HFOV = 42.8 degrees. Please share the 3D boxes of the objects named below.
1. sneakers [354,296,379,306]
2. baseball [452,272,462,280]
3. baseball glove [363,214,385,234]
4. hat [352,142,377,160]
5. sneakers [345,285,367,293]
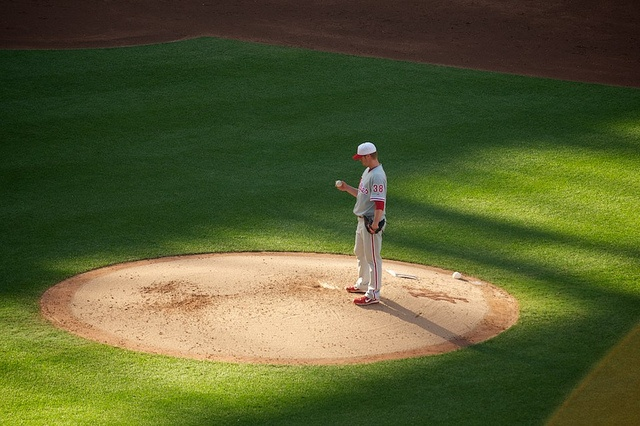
[{"bbox_3d":[0.848,1.663,15.296,0.516,0.146,0.164,3,4,-8],"label":"sneakers"},{"bbox_3d":[2.780,1.266,16.540,0.193,0.112,0.257,5,11,5],"label":"baseball"},{"bbox_3d":[0.978,0.208,15.242,0.433,0.137,0.290,25,-11,-1],"label":"baseball glove"},{"bbox_3d":[0.761,-1.131,15.340,0.571,0.247,0.330,-8,29,21],"label":"hat"},{"bbox_3d":[0.685,1.469,15.713,0.405,0.118,0.121,6,7,15],"label":"sneakers"}]
